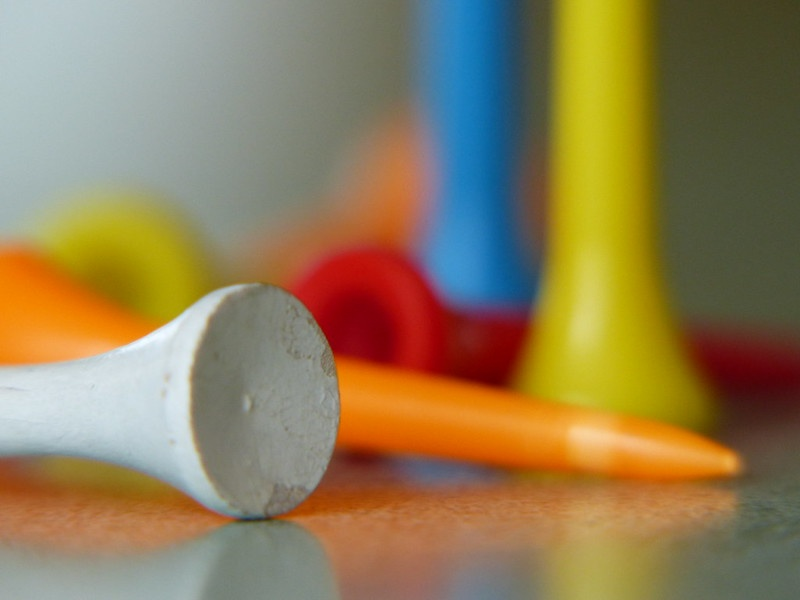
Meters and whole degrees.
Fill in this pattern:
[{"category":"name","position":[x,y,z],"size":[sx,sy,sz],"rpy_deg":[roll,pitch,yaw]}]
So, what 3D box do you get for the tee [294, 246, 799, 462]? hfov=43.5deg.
[{"category":"tee","position":[0.120,0.035,1.067],"size":[0.550,0.189,0.175],"rpy_deg":[4,73,3]}]
